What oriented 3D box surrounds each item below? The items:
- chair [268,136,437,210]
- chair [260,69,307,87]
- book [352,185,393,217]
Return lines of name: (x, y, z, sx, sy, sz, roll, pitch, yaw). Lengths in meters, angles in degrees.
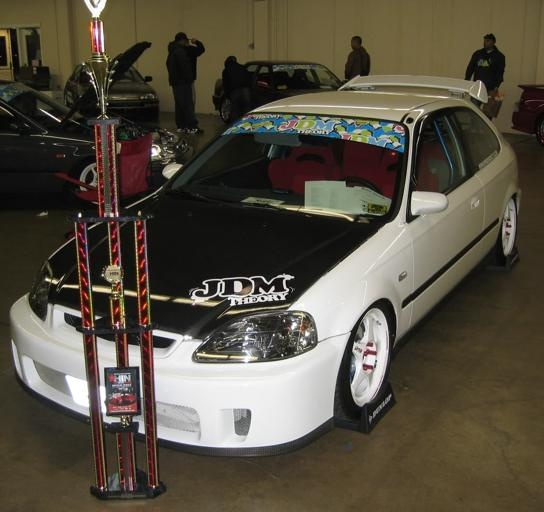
chair: (0.472, -0.683, 3.110, 0.690, 0.680, 0.814, 10, 14, 22)
chair: (0.357, -4.680, 11.363, 0.666, 0.472, 1.004, -14, 24, -25)
book: (0.574, -0.318, 2.521, 0.144, 0.064, 0.206, -9, 31, -23)
